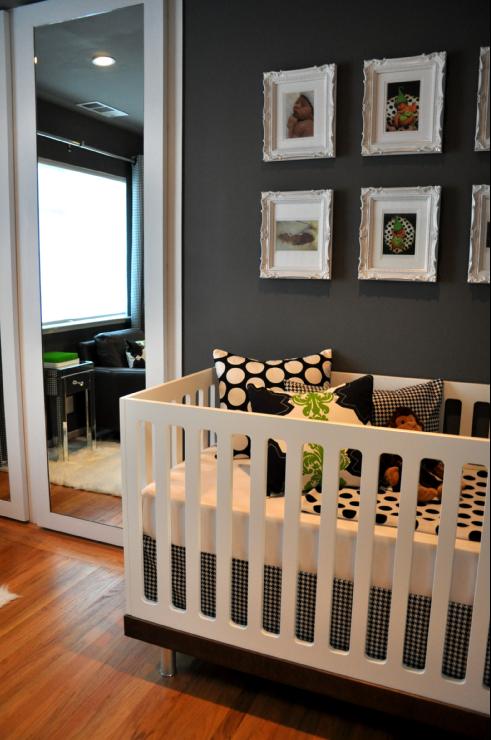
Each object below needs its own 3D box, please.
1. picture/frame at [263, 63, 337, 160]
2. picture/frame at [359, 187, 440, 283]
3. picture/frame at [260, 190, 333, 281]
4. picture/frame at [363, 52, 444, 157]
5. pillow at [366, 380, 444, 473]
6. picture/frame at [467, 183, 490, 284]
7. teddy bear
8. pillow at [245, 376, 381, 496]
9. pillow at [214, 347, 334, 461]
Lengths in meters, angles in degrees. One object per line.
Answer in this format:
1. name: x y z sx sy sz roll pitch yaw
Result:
1. picture/frame: 0.177 -0.821 1.803 0.273 0.321 0.032 4 9 33
2. picture/frame: 0.469 -0.415 1.726 0.243 0.314 0.025 7 13 33
3. picture/frame: 0.173 -0.448 1.869 0.259 0.295 0.024 5 8 35
4. picture/frame: 0.463 -0.779 1.661 0.271 0.323 0.032 5 10 33
5. pillow: 0.482 0.157 1.616 0.208 0.231 0.068 0 0 1
6. picture/frame: 0.655 -0.381 1.610 0.054 0.273 0.085 3 7 18
7. teddy bear: 0.438 0.224 1.519 0.169 0.285 0.212 8 -17 -36
8. pillow: 0.163 0.170 1.390 0.241 0.267 0.097 -2 -22 -3
9. pillow: 0.079 0.094 1.563 0.282 0.317 0.116 2 -8 -2
